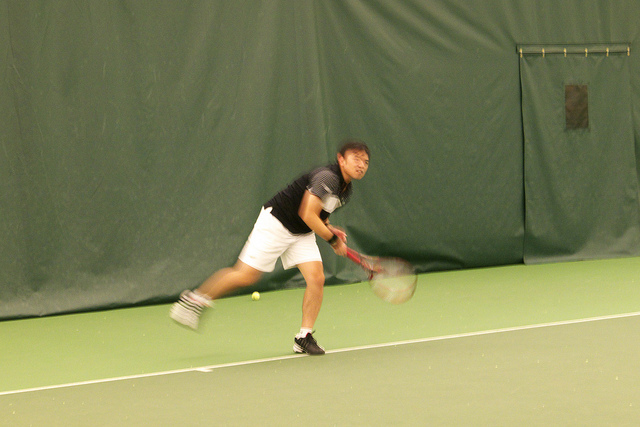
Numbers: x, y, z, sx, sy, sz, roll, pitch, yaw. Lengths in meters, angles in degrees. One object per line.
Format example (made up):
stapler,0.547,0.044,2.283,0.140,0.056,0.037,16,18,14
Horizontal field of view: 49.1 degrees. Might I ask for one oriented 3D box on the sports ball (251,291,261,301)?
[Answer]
sports ball,-0.721,0.940,7.907,0.080,0.092,0.104,18,-5,7
